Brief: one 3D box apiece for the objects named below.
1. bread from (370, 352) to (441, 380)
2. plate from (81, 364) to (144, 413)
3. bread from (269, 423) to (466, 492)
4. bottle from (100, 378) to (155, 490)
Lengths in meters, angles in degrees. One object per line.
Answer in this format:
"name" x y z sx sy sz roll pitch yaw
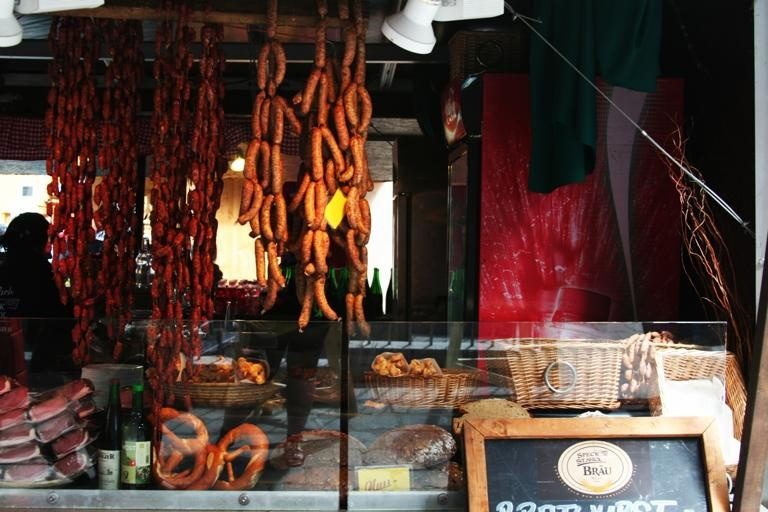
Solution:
"bread" 0.089 0.431 2.784 0.279 0.101 0.024 -1 11 -1
"plate" -1.085 0.504 2.798 0.197 0.154 0.203 -1 -2 9
"bread" -0.049 0.749 2.798 0.535 0.183 0.332 1 -5 2
"bottle" -1.027 0.708 2.759 0.214 0.386 0.154 -4 12 -11
